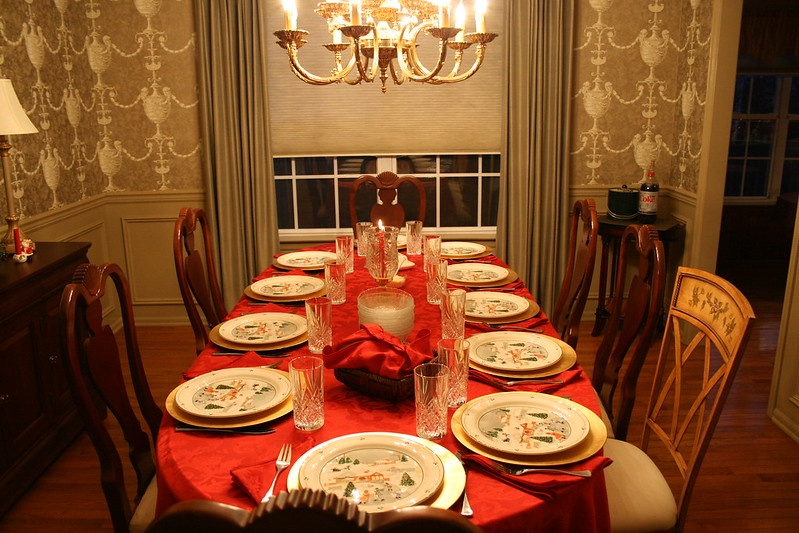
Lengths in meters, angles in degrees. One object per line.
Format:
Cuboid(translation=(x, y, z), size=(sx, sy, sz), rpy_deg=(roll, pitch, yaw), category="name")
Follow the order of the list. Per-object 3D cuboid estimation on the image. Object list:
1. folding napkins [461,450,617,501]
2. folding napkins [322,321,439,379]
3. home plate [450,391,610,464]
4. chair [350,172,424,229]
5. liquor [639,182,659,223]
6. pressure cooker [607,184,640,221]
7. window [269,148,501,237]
Cuboid(translation=(0.383, 0.604, 1.656), size=(0.185, 0.028, 0.197), rpy_deg=(-3, 9, -27), category="folding napkins")
Cuboid(translation=(-0.068, 0.296, 1.939), size=(0.220, 0.079, 0.225), rpy_deg=(12, 20, 33), category="folding napkins")
Cuboid(translation=(0.393, 0.509, 1.807), size=(0.254, 0.039, 0.252), rpy_deg=(-21, 26, -36), category="home plate")
Cuboid(translation=(-0.085, -0.414, 3.784), size=(0.489, 0.404, 0.442), rpy_deg=(-4, 18, -5), category="chair")
Cuboid(translation=(1.854, -0.471, 4.313), size=(0.127, 0.262, 0.184), rpy_deg=(4, 19, 18), category="liquor")
Cuboid(translation=(1.696, -0.483, 4.391), size=(0.228, 0.261, 0.227), rpy_deg=(-9, 16, -23), category="pressure cooker")
Cuboid(translation=(-0.192, -0.719, 5.215), size=(2.001, 0.918, 0.043), rpy_deg=(1, 21, 15), category="window")
